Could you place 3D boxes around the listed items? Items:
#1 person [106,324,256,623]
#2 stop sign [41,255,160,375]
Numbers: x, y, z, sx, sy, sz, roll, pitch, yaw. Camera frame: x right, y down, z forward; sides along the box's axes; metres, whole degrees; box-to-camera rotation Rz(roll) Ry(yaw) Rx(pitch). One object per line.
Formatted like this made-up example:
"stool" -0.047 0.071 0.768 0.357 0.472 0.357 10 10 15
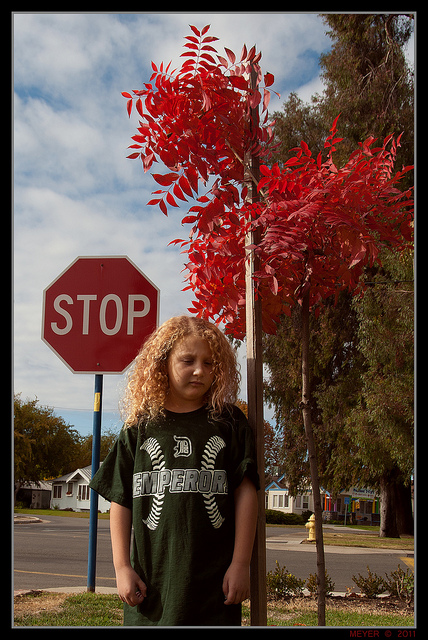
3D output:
"person" -0.100 0.443 2.122 0.454 0.886 0.244 -1 -9 1
"stop sign" -0.531 0.003 3.307 0.493 0.573 0.061 -1 -13 5
